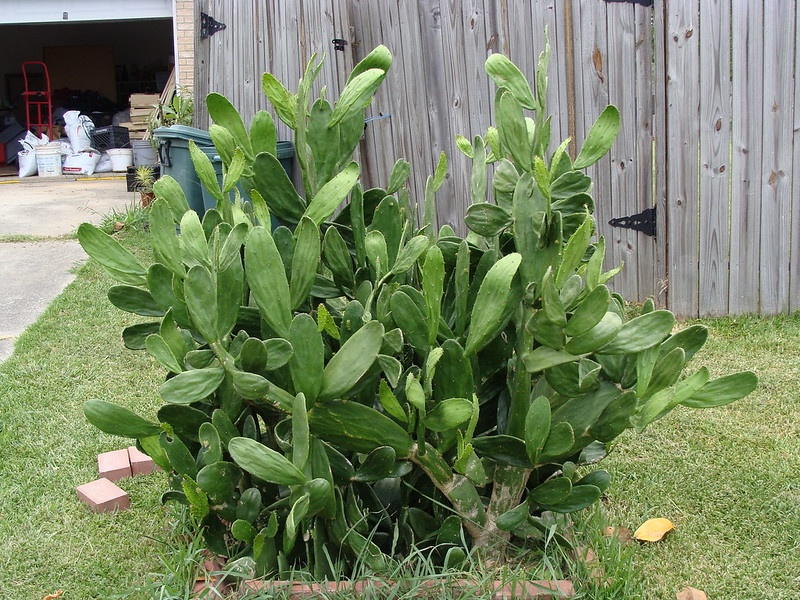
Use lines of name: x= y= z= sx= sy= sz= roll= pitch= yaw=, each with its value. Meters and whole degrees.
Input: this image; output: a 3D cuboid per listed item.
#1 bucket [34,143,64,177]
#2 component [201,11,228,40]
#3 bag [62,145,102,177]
bucket: x=-5.897 y=-2.340 z=11.471 sx=0.447 sy=0.634 sz=0.498 roll=-1 pitch=8 yaw=-4
component: x=-1.312 y=-1.928 z=4.776 sx=0.146 sy=0.166 sz=0.054 roll=8 pitch=19 yaw=3
bag: x=-5.543 y=-2.362 z=11.763 sx=0.452 sy=0.571 sz=0.225 roll=-2 pitch=-5 yaw=-3
